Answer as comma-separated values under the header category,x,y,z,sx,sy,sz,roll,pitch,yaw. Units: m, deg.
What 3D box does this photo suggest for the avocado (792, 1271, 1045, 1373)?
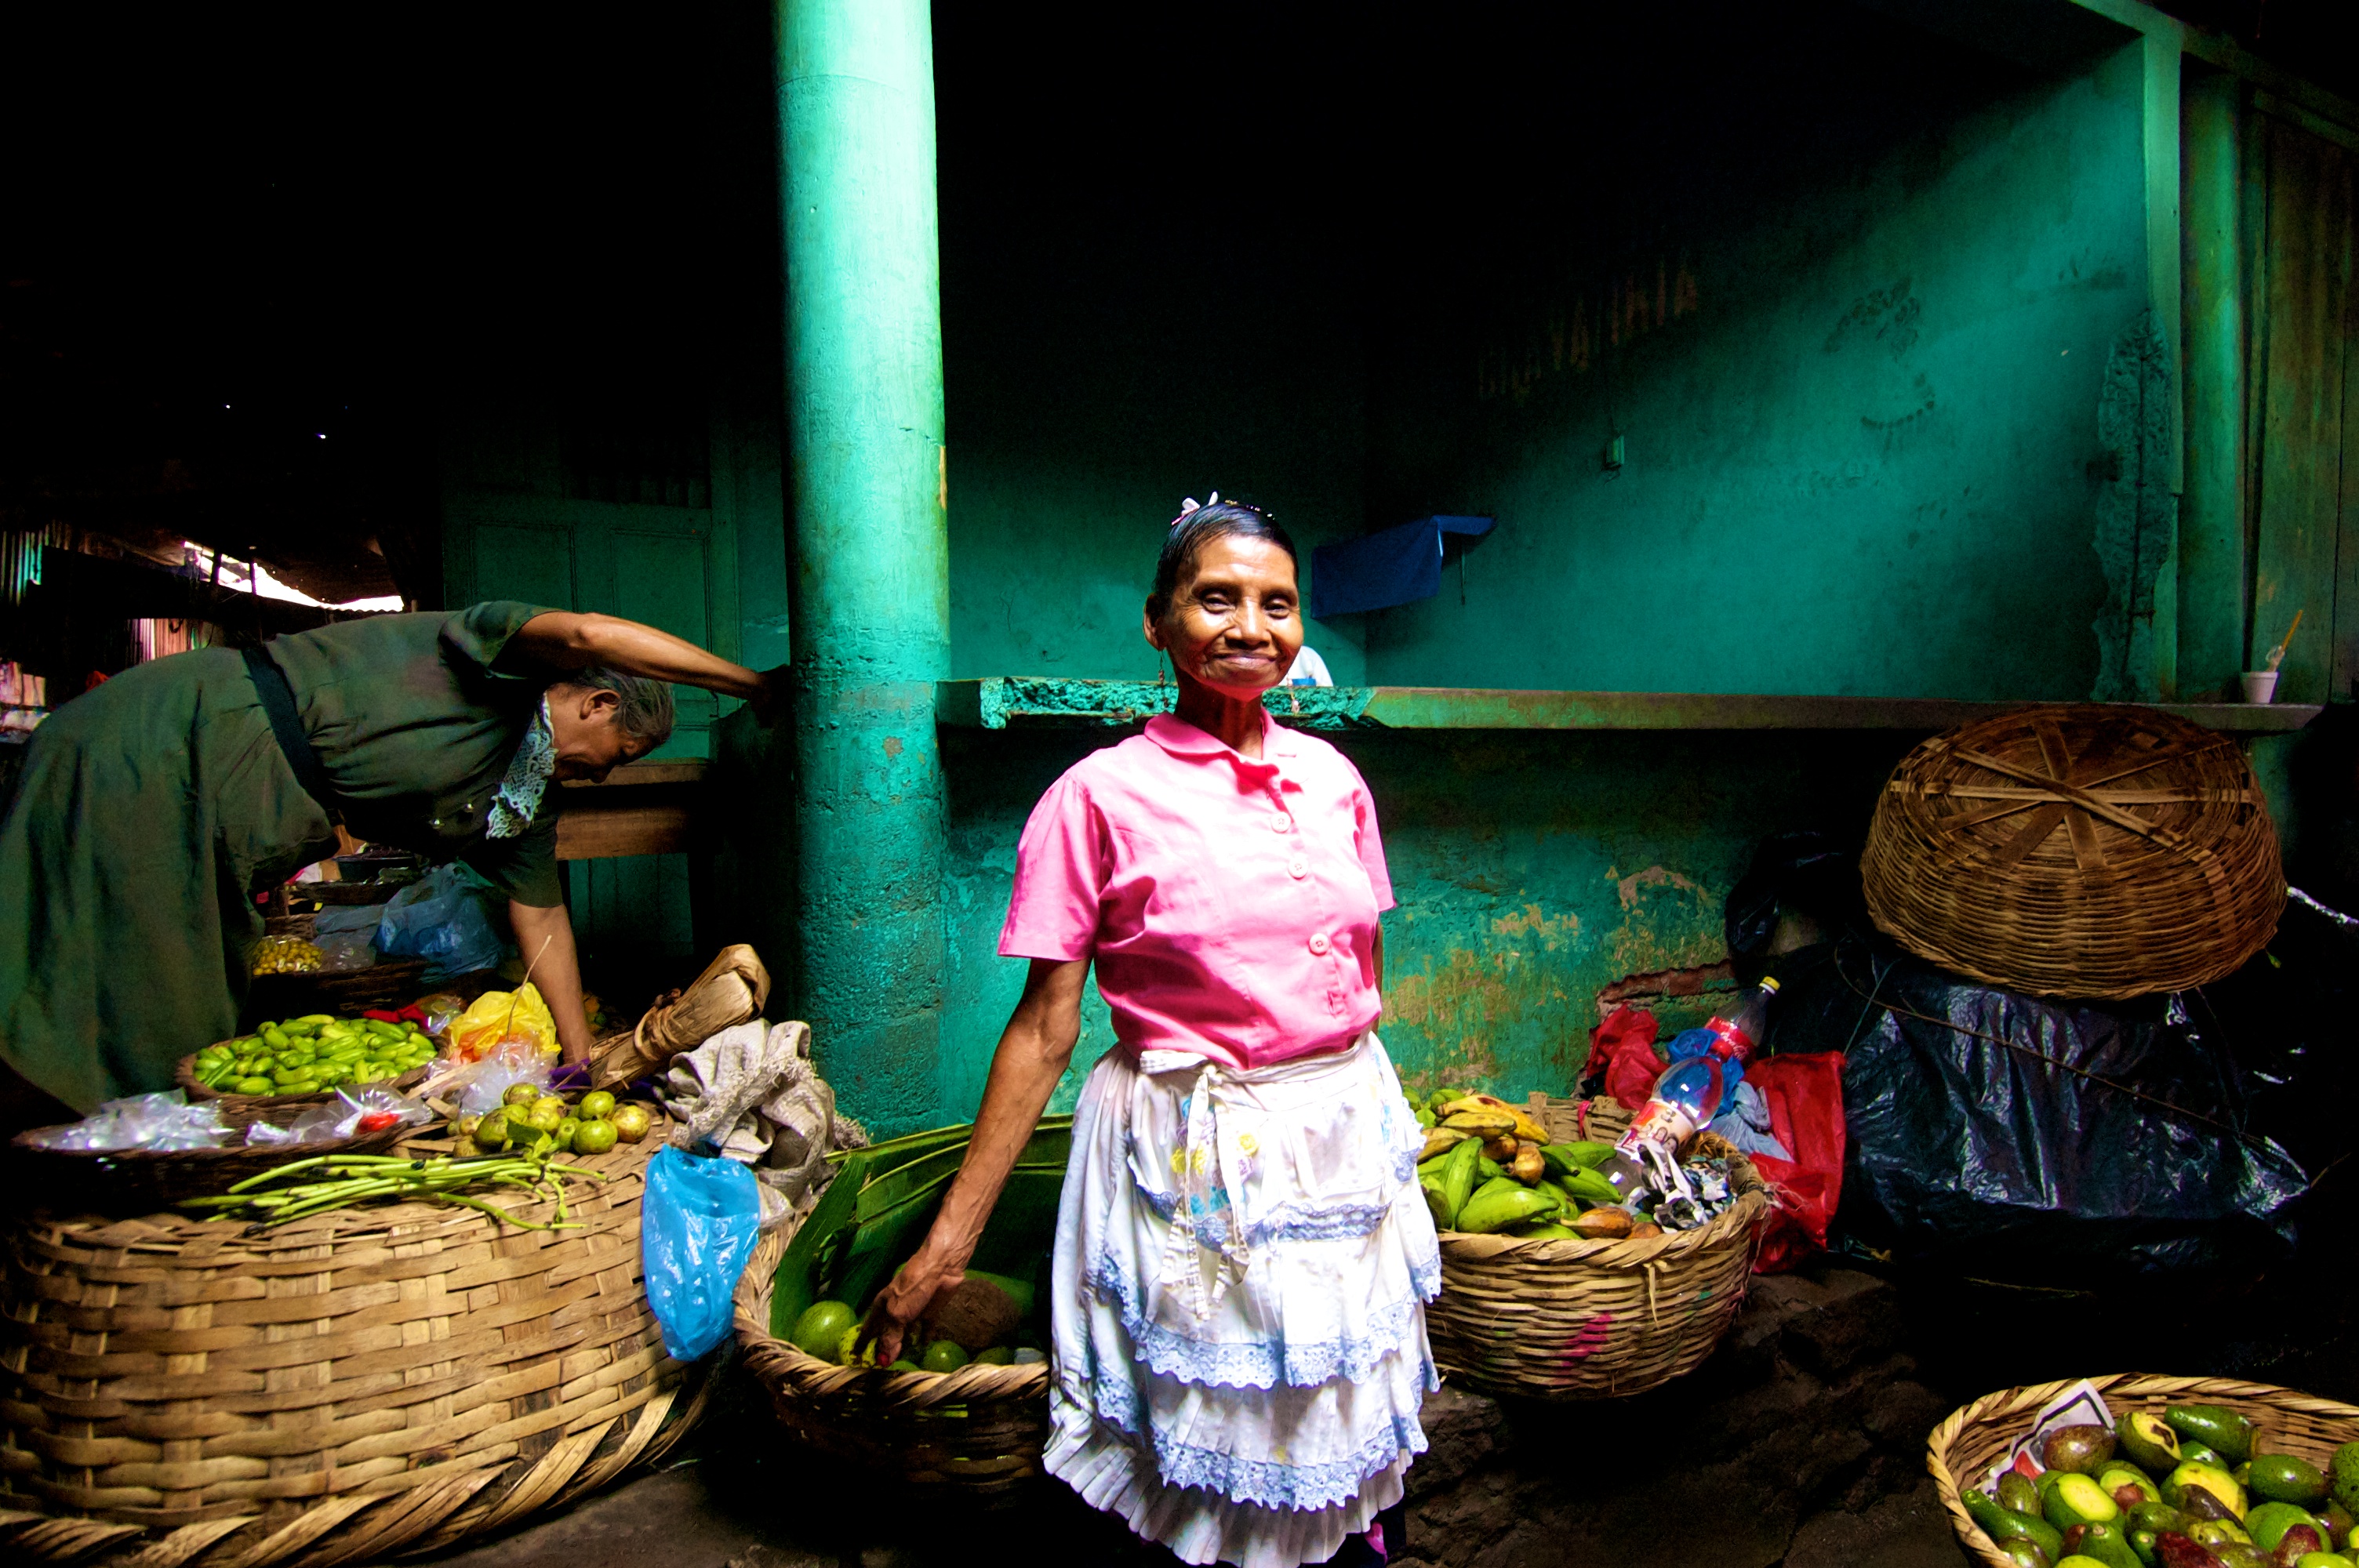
category,x,y,z,sx,sy,sz,roll,pitch,yaw
avocado,-0.683,1.364,4.517,0.547,0.176,0.272,-3,-5,-18

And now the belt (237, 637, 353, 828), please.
category,x,y,z,sx,sy,sz,roll,pitch,yaw
belt,-2.573,-0.141,4.951,0.218,0.471,0.213,-13,16,-38
